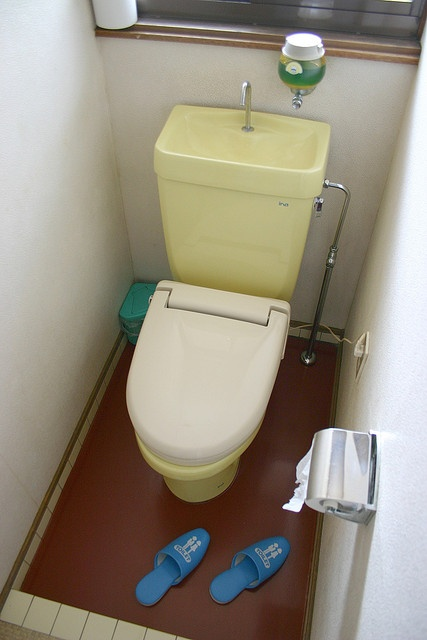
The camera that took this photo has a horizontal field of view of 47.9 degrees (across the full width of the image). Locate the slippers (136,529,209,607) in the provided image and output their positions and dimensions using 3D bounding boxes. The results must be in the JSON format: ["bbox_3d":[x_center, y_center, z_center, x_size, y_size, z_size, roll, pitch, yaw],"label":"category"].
[{"bbox_3d":[-0.104,0.630,1.227,0.232,0.054,0.090,-43,72,-15],"label":"slippers"}]

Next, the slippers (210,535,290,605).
[{"bbox_3d":[0.094,0.640,1.252,0.218,0.053,0.098,-30,65,-15],"label":"slippers"}]

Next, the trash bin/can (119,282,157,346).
[{"bbox_3d":[-0.249,-0.022,1.556,0.096,0.161,0.119,20,68,7],"label":"trash bin/can"}]

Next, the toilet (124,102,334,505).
[{"bbox_3d":[0.004,0.035,1.288,0.395,0.858,0.721,11,48,8],"label":"toilet"}]
